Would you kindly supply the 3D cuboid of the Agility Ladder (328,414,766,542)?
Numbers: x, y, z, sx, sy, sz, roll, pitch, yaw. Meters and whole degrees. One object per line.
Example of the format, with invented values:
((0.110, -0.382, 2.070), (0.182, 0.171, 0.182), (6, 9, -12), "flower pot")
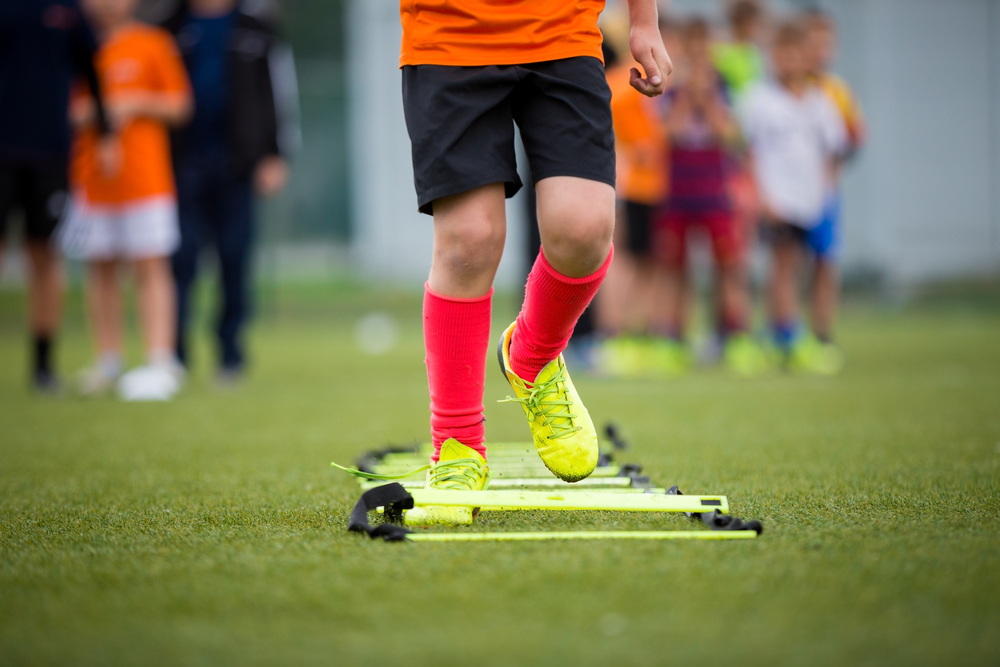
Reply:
((0.115, 0.439, 3.436), (1.127, 0.181, 0.897), (2, 14, -1), "Agility Ladder")

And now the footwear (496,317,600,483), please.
((0.133, 0.190, 3.436), (0.173, 0.483, 0.167), (-22, -9, -3), "footwear")

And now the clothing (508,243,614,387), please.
((0.146, -0.035, 3.401), (0.163, 0.521, 0.229), (18, 36, -6), "clothing")

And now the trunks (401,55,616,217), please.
((0.029, -0.571, 3.187), (0.619, 0.499, 0.387), (-5, -3, -7), "trunks")
